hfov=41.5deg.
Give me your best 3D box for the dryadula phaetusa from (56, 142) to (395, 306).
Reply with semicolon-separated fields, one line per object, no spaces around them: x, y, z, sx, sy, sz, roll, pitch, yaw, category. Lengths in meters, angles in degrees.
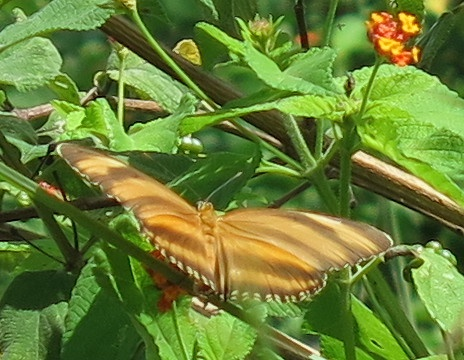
-0.014;0.072;0.702;0.467;0.078;0.160;19;38;-27;dryadula phaetusa
